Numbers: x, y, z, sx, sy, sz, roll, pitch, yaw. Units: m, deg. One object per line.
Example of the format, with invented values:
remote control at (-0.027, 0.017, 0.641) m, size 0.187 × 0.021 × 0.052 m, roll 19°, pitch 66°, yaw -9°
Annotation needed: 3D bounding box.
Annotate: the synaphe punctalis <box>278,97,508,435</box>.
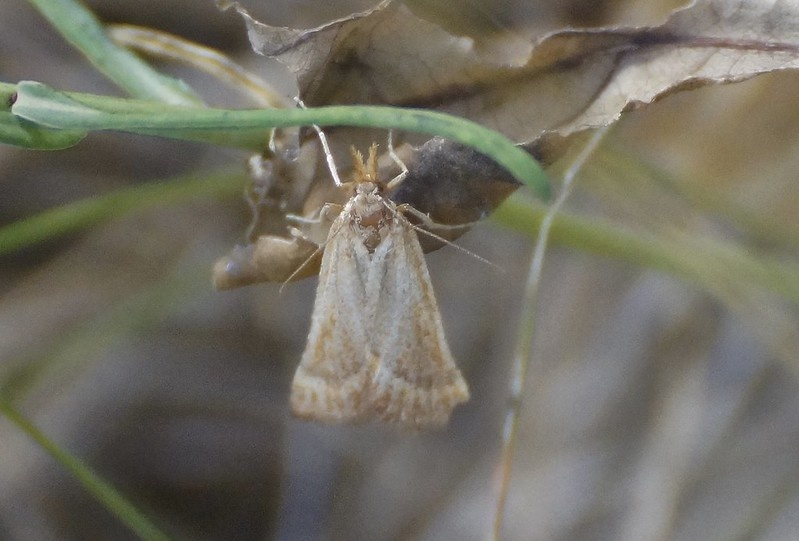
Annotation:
synaphe punctalis at (-0.033, 0.083, 1.330) m, size 0.344 × 0.465 × 0.128 m, roll -4°, pitch 11°, yaw 0°
